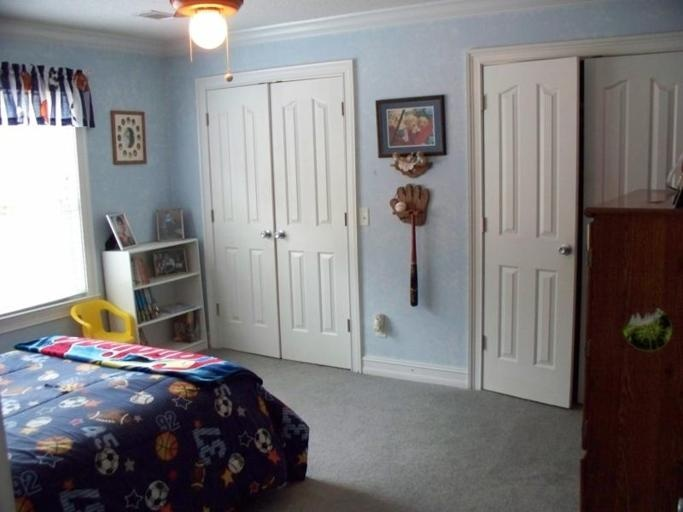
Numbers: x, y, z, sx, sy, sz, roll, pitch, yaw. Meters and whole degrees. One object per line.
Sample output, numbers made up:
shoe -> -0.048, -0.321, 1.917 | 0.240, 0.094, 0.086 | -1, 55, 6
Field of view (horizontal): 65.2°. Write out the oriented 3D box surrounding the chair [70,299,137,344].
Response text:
chair -> -1.883, 0.487, 4.132 | 0.382, 0.509, 0.355 | 5, 10, 39

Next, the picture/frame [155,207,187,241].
picture/frame -> -1.489, -0.267, 4.613 | 0.232, 0.280, 0.027 | -3, 1, 4

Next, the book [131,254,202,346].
book -> -1.496, 0.367, 4.490 | 0.238, 0.831, 0.730 | 1, 6, 23

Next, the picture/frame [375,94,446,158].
picture/frame -> 0.506, -0.935, 3.782 | 0.466, 0.374, 0.036 | 3, 12, 25

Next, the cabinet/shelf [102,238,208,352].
cabinet/shelf -> -1.550, 0.296, 4.353 | 0.327, 1.149, 0.903 | 0, 5, 20

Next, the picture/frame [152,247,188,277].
picture/frame -> -1.486, 0.056, 4.545 | 0.029, 0.193, 0.243 | -5, 1, 43

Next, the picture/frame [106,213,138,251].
picture/frame -> -1.781, -0.193, 4.258 | 0.062, 0.273, 0.238 | -21, 10, 22

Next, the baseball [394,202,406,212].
baseball -> 0.419, -0.353, 3.836 | 0.053, 0.069, 0.064 | 6, -13, -24
